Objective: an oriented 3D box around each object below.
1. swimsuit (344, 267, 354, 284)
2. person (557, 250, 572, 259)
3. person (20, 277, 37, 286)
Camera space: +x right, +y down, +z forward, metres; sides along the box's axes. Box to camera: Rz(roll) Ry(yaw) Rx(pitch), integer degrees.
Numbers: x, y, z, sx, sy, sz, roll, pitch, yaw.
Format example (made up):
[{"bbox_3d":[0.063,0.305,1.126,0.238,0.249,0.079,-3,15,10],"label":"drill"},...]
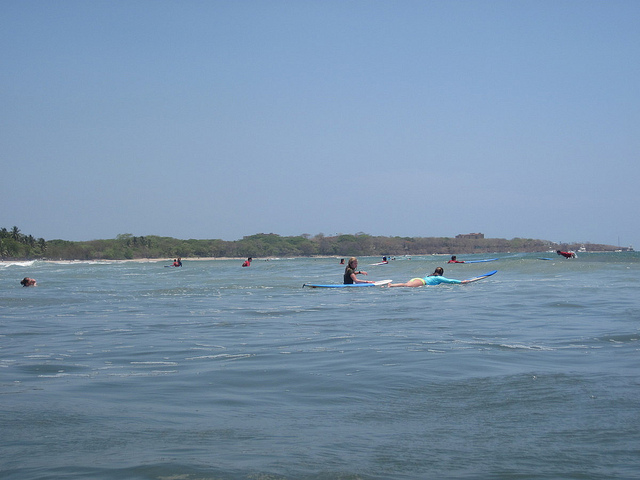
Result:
[{"bbox_3d":[1.259,1.472,31.591,0.365,0.812,0.993,-2,8,-4],"label":"swimsuit"},{"bbox_3d":[24.514,1.482,76.705,0.973,0.686,3.137,6,1,22],"label":"person"},{"bbox_3d":[-13.290,1.927,35.215,0.524,0.316,0.706,-2,-3,-22],"label":"person"}]
